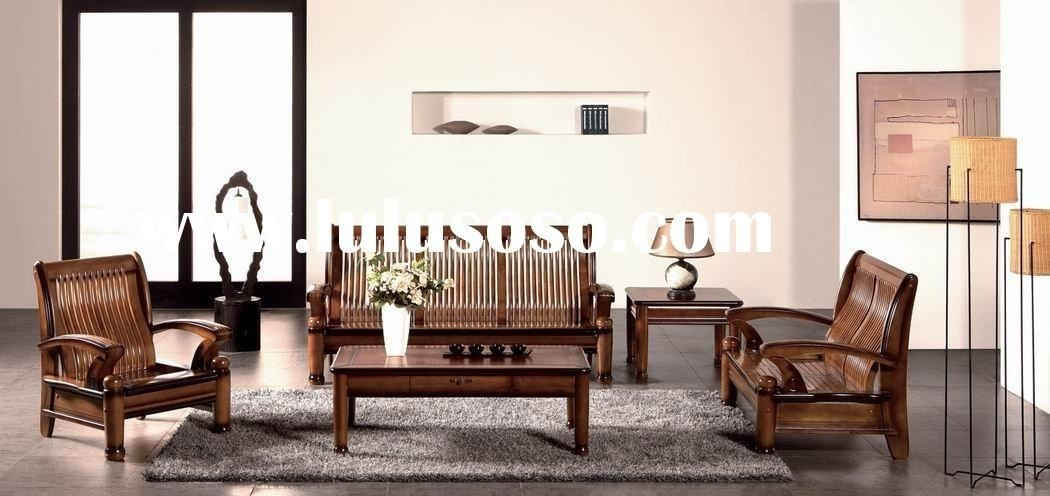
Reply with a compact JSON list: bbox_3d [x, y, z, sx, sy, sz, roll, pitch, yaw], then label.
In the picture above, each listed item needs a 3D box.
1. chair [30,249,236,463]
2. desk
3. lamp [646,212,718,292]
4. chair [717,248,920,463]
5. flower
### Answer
[{"bbox_3d":[-3.824,1.019,9.139,2.259,2.413,2.170,3,5,37],"label":"chair"},{"bbox_3d":[1.828,0.943,9.942,1.393,0.843,1.196,1,6,1],"label":"desk"},{"bbox_3d":[1.851,0.132,10.102,0.982,0.917,0.897,1,1,7],"label":"lamp"},{"bbox_3d":[3.375,1.212,9.126,2.260,2.195,2.622,1,3,2],"label":"chair"},{"bbox_3d":[-1.299,0.363,8.446,0.885,0.447,0.683,-12,5,-17],"label":"flower"}]
